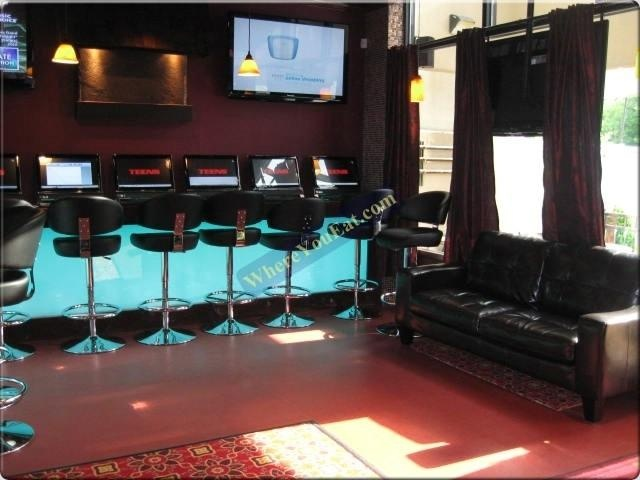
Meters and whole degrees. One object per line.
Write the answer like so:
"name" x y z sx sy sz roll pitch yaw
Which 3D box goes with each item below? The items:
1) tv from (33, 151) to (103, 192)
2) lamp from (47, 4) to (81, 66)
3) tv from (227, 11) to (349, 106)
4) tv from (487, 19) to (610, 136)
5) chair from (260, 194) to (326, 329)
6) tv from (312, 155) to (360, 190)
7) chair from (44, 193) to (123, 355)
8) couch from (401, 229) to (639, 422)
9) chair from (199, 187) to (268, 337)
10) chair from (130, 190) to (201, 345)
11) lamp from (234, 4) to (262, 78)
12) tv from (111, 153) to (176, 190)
"tv" -2.539 -0.665 4.917 0.564 0.344 0.048 -6 20 -36
"lamp" -2.464 -1.990 4.645 0.247 0.576 0.539 -5 13 -27
"tv" -0.386 -2.114 5.780 1.755 0.940 0.148 -14 29 -40
"tv" 2.109 -1.478 4.413 0.116 0.911 1.421 -5 7 -27
"chair" -0.345 0.225 5.319 0.634 1.419 0.574 -4 13 -22
"tv" 0.175 -0.837 6.082 0.568 0.337 0.068 0 -13 -23
"chair" -2.141 0.300 4.530 0.625 1.445 0.487 -3 13 -21
"couch" 1.751 0.582 4.182 0.987 1.089 1.842 -8 14 -38
"chair" -0.914 0.215 5.101 0.651 1.490 0.557 0 12 -7
"chair" -1.566 0.263 4.789 0.636 1.471 0.541 12 16 41
"lamp" -0.775 -2.085 5.185 0.239 0.701 0.722 0 11 -7
"tv" -1.922 -0.724 5.186 0.506 0.301 0.049 -3 -10 -22
